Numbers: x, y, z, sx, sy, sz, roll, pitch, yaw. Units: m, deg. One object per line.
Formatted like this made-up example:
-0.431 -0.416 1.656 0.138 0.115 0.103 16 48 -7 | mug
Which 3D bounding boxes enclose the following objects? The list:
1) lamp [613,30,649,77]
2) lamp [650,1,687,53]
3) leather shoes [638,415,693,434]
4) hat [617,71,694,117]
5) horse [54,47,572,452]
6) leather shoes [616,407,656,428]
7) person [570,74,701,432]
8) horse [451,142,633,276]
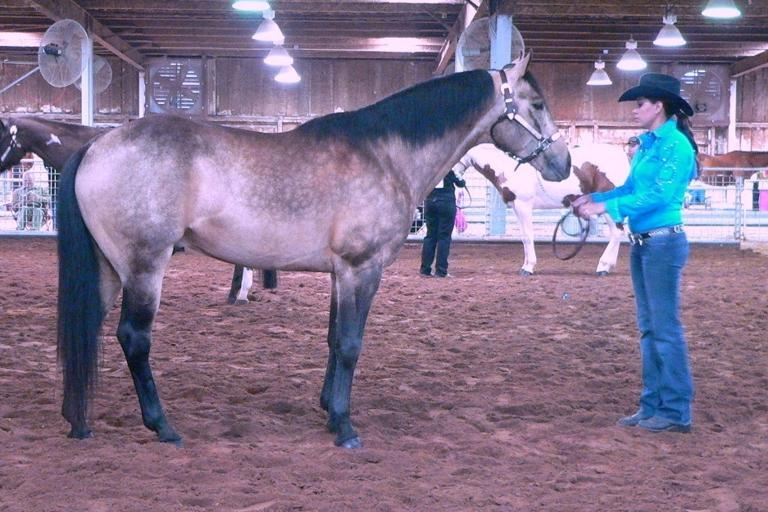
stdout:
4.938 -4.069 19.767 0.707 0.510 0.698 -2 -3 31 | lamp
5.203 -4.181 17.938 0.454 0.818 1.043 4 4 17 | lamp
2.714 1.638 9.615 0.507 0.195 0.183 4 -4 5 | leather shoes
2.705 -1.633 9.703 0.480 0.278 0.620 1 -4 -28 | hat
-0.705 0.034 9.731 4.967 3.581 1.314 0 2 -5 | horse
2.461 1.588 9.715 0.388 0.159 0.136 -1 0 -2 | leather shoes
2.612 -0.040 9.640 0.914 3.436 0.406 4 3 10 | person
2.376 -0.831 15.312 3.056 2.132 0.758 0 -2 18 | horse
